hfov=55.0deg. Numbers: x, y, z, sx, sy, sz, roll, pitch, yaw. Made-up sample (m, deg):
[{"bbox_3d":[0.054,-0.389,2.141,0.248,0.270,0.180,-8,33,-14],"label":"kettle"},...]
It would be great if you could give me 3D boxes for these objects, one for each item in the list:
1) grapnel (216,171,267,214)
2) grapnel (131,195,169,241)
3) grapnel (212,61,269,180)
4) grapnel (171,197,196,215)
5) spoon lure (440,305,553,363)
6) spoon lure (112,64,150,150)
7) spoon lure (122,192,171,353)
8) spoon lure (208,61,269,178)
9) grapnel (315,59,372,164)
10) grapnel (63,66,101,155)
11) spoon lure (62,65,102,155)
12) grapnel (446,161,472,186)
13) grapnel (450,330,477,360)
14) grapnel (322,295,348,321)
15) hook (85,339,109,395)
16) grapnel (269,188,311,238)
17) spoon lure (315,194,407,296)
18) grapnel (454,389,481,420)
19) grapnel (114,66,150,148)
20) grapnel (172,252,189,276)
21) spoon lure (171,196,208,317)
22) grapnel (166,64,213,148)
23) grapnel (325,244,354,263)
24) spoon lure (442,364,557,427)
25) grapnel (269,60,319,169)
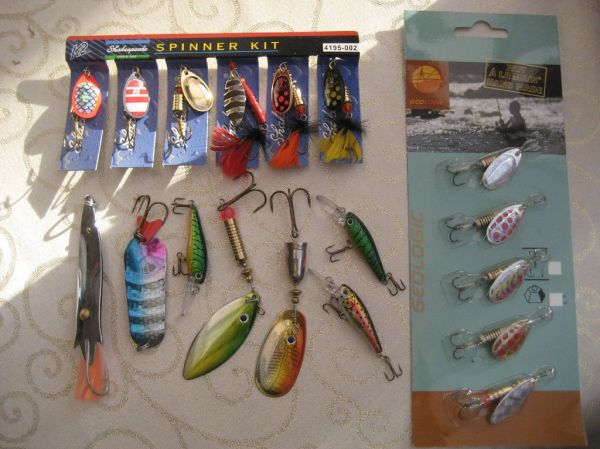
[{"bbox_3d":[-0.258,-0.120,2.316,0.190,0.029,0.216,-20,-31,3],"label":"grapnel"},{"bbox_3d":[-0.615,-0.012,2.330,0.135,0.186,0.042,20,-16,0],"label":"grapnel"},{"bbox_3d":[-0.256,-0.432,2.325,0.225,0.483,0.110,-4,7,-4],"label":"grapnel"},{"bbox_3d":[-0.474,-0.078,2.319,0.088,0.059,0.031,-2,29,33],"label":"grapnel"},{"bbox_3d":[0.786,0.443,2.288,0.456,0.185,0.046,-5,7,-6],"label":"spoon lure"},{"bbox_3d":[-0.658,-0.479,2.323,0.098,0.348,0.039,0,-14,-13],"label":"spoon lure"},{"bbox_3d":[-0.597,0.197,2.284,0.188,0.553,0.127,-6,7,-15],"label":"spoon lure"},{"bbox_3d":[-0.305,-0.447,2.357,0.202,0.066,0.527,-8,-32,-20],"label":"spoon lure"},{"bbox_3d":[0.151,-0.475,2.320,0.172,0.451,0.006,-1,-13,0],"label":"grapnel"},{"bbox_3d":[-0.868,-0.470,2.312,0.101,0.375,0.054,8,0,-6],"label":"grapnel"},{"bbox_3d":[-0.879,-0.440,2.330,0.107,0.391,0.059,16,10,-8],"label":"spoon lure"},{"bbox_3d":[0.635,-0.219,2.343,0.092,0.103,0.023,-21,9,-1],"label":"grapnel"},{"bbox_3d":[0.630,0.471,2.261,0.108,0.105,0.029,-49,-4,-12],"label":"grapnel"},{"bbox_3d":[0.131,0.330,2.282,0.092,0.096,0.028,-37,-6,-3],"label":"grapnel"},{"bbox_3d":[-0.799,0.580,2.257,0.065,0.246,0.012,-6,-27,-9],"label":"hook"},{"bbox_3d":[-0.045,-0.040,2.318,0.151,0.211,0.021,-8,-18,-6],"label":"grapnel"},{"bbox_3d":[0.237,0.090,2.400,0.239,0.467,0.124,-36,2,-31],"label":"spoon lure"},{"bbox_3d":[0.652,0.707,2.260,0.083,0.125,0.029,4,-4,2],"label":"grapnel"},{"bbox_3d":[-0.660,-0.476,2.326,0.095,0.332,0.041,1,-11,-15],"label":"grapnel"},{"bbox_3d":[-0.476,0.161,2.290,0.082,0.123,0.012,2,9,20],"label":"grapnel"},{"bbox_3d":[-0.432,0.127,2.230,0.138,0.451,0.059,2,-10,-3],"label":"spoon lure"},{"bbox_3d":[-0.452,-0.462,2.328,0.177,0.316,0.049,18,1,15],"label":"grapnel"},{"bbox_3d":[0.148,0.116,2.334,0.101,0.067,0.018,-26,-10,-6],"label":"grapnel"},{"bbox_3d":[0.786,0.687,2.308,0.412,0.169,0.062,-19,-4,-1],"label":"spoon lure"},{"bbox_3d":[-0.053,-0.461,2.321,0.167,0.473,0.014,1,-16,-5],"label":"grapnel"}]
